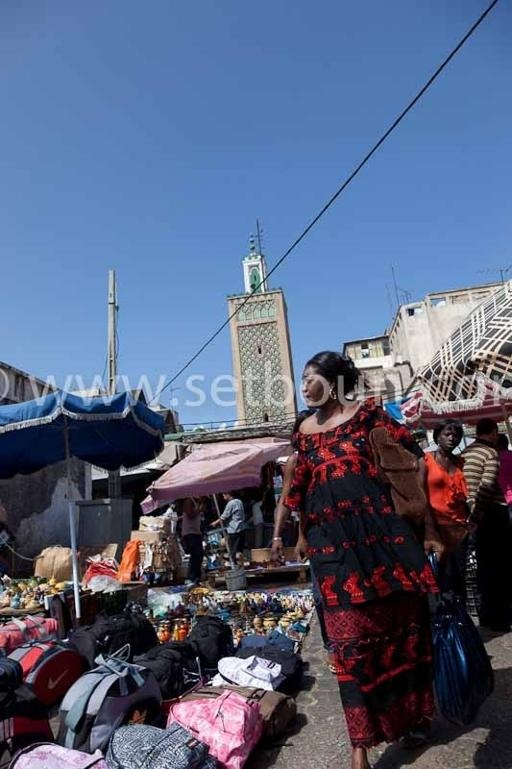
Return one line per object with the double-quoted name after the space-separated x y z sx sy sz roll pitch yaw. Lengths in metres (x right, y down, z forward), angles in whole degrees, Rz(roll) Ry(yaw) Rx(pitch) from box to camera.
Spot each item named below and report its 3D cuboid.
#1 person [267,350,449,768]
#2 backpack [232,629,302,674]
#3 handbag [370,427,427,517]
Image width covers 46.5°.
0.466 0.630 2.510 0.537 1.605 0.602 -6 -5 0 "person"
0.088 1.749 3.868 0.346 0.122 0.347 3 -10 29 "backpack"
0.622 0.369 2.462 0.274 0.290 0.124 -3 -20 -40 "handbag"
